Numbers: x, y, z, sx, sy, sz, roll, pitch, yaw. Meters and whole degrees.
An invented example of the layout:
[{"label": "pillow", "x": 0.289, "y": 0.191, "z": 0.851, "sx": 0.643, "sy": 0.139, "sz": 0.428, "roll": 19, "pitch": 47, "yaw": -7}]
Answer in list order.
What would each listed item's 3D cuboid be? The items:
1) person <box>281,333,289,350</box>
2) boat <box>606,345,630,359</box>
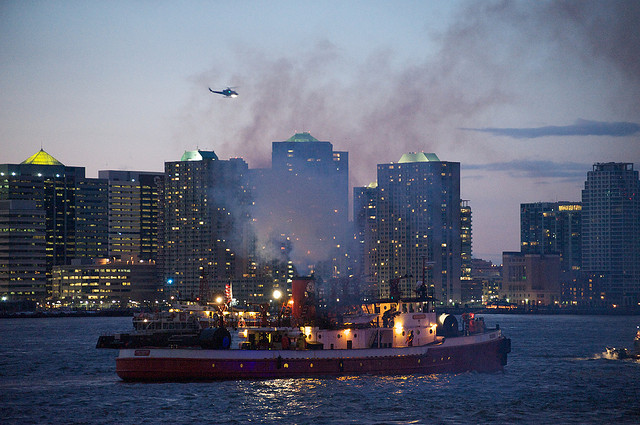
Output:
[{"label": "person", "x": -5.697, "y": 22.678, "z": 248.737, "sx": 1.240, "sy": 2.875, "sz": 0.602, "roll": 0, "pitch": 3, "yaw": -16}, {"label": "boat", "x": 59.853, "y": 27.450, "z": 275.901, "sx": 1.837, "sy": 1.273, "sz": 3.999, "roll": 3, "pitch": 4, "yaw": -35}]
